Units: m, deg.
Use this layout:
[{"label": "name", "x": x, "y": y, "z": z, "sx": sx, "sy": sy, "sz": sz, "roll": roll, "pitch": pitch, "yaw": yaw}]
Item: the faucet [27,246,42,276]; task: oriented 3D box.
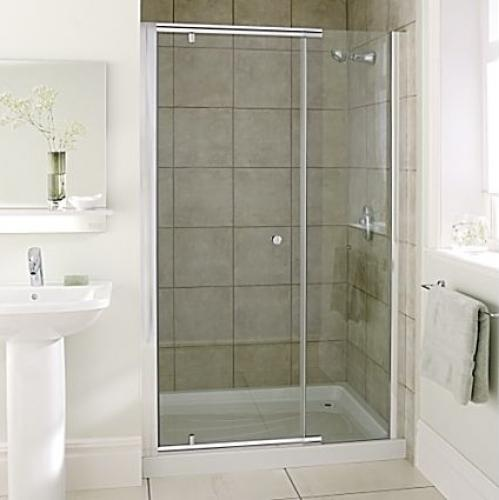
[{"label": "faucet", "x": -0.903, "y": 0.051, "z": 2.334, "sx": 0.054, "sy": 0.127, "sz": 0.089, "roll": -5, "pitch": -5, "yaw": -23}]

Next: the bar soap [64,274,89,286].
[{"label": "bar soap", "x": -0.755, "y": 0.138, "z": 2.411, "sx": 0.070, "sy": 0.051, "sz": 0.017, "roll": -3, "pitch": -4, "yaw": -7}]

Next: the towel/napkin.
[{"label": "towel/napkin", "x": 0.820, "y": 0.374, "z": 2.179, "sx": 0.073, "sy": 0.356, "sz": 0.443, "roll": 1, "pitch": 4, "yaw": -8}]

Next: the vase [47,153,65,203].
[{"label": "vase", "x": -0.807, "y": -0.298, "z": 2.325, "sx": 0.075, "sy": 0.211, "sz": 0.057, "roll": -5, "pitch": -4, "yaw": -24}]
